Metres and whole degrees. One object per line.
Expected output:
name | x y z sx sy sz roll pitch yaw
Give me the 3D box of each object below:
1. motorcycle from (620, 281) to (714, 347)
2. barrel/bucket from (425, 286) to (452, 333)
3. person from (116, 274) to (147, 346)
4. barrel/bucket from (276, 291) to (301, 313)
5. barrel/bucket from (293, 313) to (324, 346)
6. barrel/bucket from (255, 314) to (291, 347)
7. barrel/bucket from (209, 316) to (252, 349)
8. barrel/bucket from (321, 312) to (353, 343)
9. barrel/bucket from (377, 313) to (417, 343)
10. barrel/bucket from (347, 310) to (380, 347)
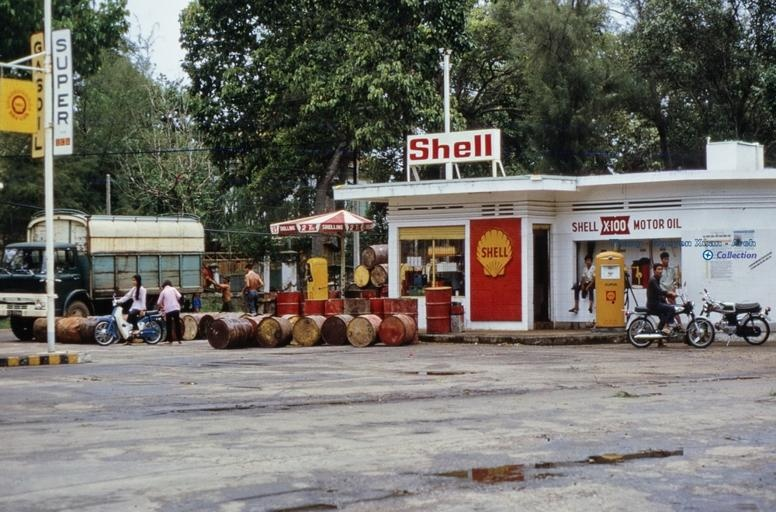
motorcycle | 8.538 1.975 34.554 2.383 1.581 1.446 -1 -2 6
barrel/bucket | 1.596 1.809 36.716 1.172 1.803 1.240 0 0 0
person | -8.517 1.654 37.490 1.046 2.019 0.714 -3 11 -7
barrel/bucket | -3.585 1.612 39.229 0.719 0.789 0.696 0 0 0
barrel/bucket | -2.516 2.440 36.256 0.901 0.953 1.030 25 7 15
barrel/bucket | -3.637 2.387 35.519 1.123 0.979 0.526 2 -7 -3
barrel/bucket | -4.998 2.474 35.317 0.998 1.020 1.573 -16 -10 31
barrel/bucket | -1.714 2.360 35.457 0.838 0.880 0.951 -21 -5 25
barrel/bucket | 0.262 2.289 35.461 0.902 0.986 1.010 -10 -2 23
barrel/bucket | -0.807 2.328 35.139 1.057 1.052 0.464 0 -7 16
